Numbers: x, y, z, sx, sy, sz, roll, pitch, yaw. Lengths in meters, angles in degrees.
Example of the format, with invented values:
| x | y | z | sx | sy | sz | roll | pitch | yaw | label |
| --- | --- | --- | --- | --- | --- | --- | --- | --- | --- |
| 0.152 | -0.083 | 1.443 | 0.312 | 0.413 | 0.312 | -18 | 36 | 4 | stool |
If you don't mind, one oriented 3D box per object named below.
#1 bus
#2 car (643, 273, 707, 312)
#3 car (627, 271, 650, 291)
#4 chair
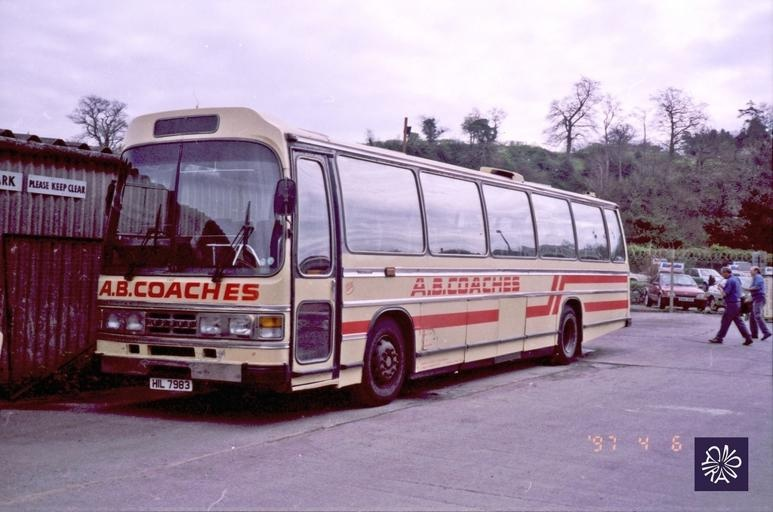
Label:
| x | y | z | sx | sy | sz | roll | pitch | yaw | label |
| --- | --- | --- | --- | --- | --- | --- | --- | --- | --- |
| 0.592 | 0.264 | 11.654 | 11.041 | 4.638 | 2.791 | 4 | -5 | -44 | bus |
| 15.950 | 2.029 | 32.604 | 2.181 | 1.963 | 3.055 | 2 | -3 | -13 | car |
| 15.836 | 1.596 | 36.649 | 1.128 | 1.251 | 4.327 | 2 | 7 | 30 | car |
| -2.029 | -0.188 | 8.067 | 0.867 | 0.555 | 0.884 | -1 | -2 | 22 | chair |
